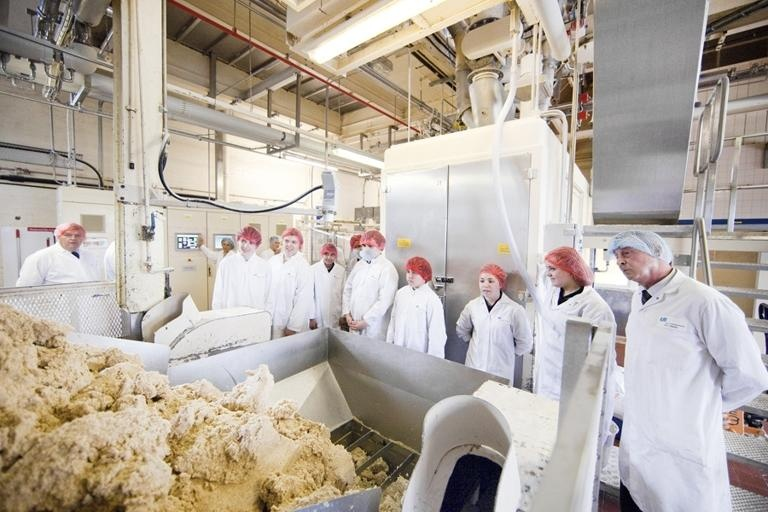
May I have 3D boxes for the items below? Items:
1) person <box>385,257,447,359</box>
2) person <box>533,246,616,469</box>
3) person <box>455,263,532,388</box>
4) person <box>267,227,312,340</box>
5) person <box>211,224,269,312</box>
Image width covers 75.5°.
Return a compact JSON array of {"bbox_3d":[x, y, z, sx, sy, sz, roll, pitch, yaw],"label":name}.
[{"bbox_3d":[0.273,0.446,4.436,0.529,0.863,0.254,1,2,11],"label":"person"},{"bbox_3d":[1.203,0.627,3.307,0.597,1.396,1.769,1,1,24],"label":"person"},{"bbox_3d":[0.927,0.573,4.208,0.622,1.005,0.323,1,2,12],"label":"person"},{"bbox_3d":[-0.999,0.290,5.360,0.432,1.145,0.367,0,2,-11],"label":"person"},{"bbox_3d":[-1.446,0.163,5.067,0.537,0.990,0.286,3,24,-17],"label":"person"}]
